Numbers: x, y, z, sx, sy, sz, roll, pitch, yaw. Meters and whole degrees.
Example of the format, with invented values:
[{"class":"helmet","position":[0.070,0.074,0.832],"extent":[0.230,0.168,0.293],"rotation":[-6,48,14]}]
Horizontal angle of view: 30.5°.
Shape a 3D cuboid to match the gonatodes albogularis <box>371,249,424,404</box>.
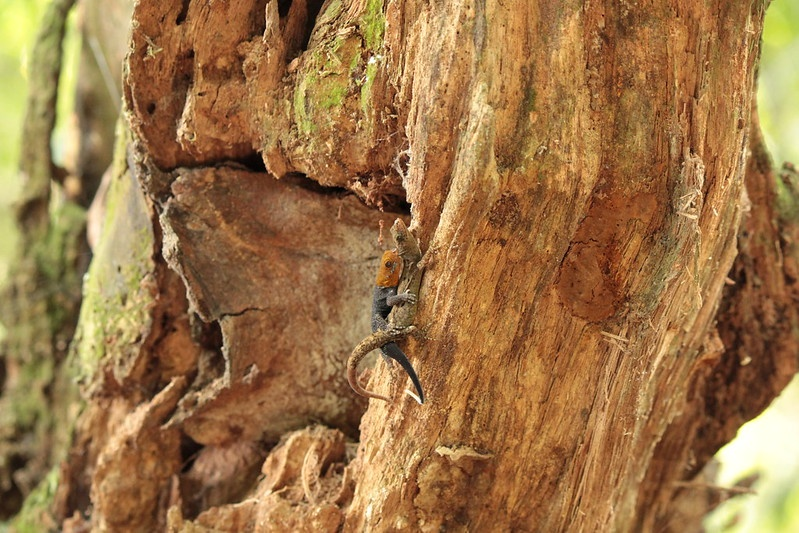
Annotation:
[{"class":"gonatodes albogularis","position":[-0.051,0.377,12.875],"extent":[0.316,1.623,0.358],"rotation":[2,-10,-7]}]
